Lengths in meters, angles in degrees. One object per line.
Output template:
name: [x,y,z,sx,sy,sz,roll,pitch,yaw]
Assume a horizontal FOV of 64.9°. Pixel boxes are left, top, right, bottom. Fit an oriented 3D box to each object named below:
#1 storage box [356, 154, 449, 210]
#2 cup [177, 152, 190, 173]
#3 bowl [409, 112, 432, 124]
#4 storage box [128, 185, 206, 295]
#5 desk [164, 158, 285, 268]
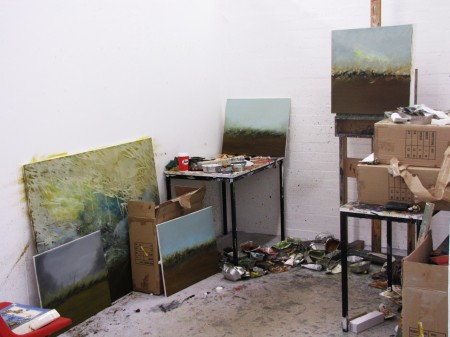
storage box: [1.327,0.103,2.900,0.657,0.351,0.297,4,4,26]
cup: [-0.497,-0.075,4.383,0.192,0.270,0.214,-2,8,-8]
bowl: [1.552,-0.398,2.817,0.117,0.050,0.088,3,4,38]
storage box: [-0.616,0.827,4.111,0.532,0.975,0.887,-4,0,28]
desk: [0.047,0.516,4.823,0.992,1.210,1.286,4,13,35]
